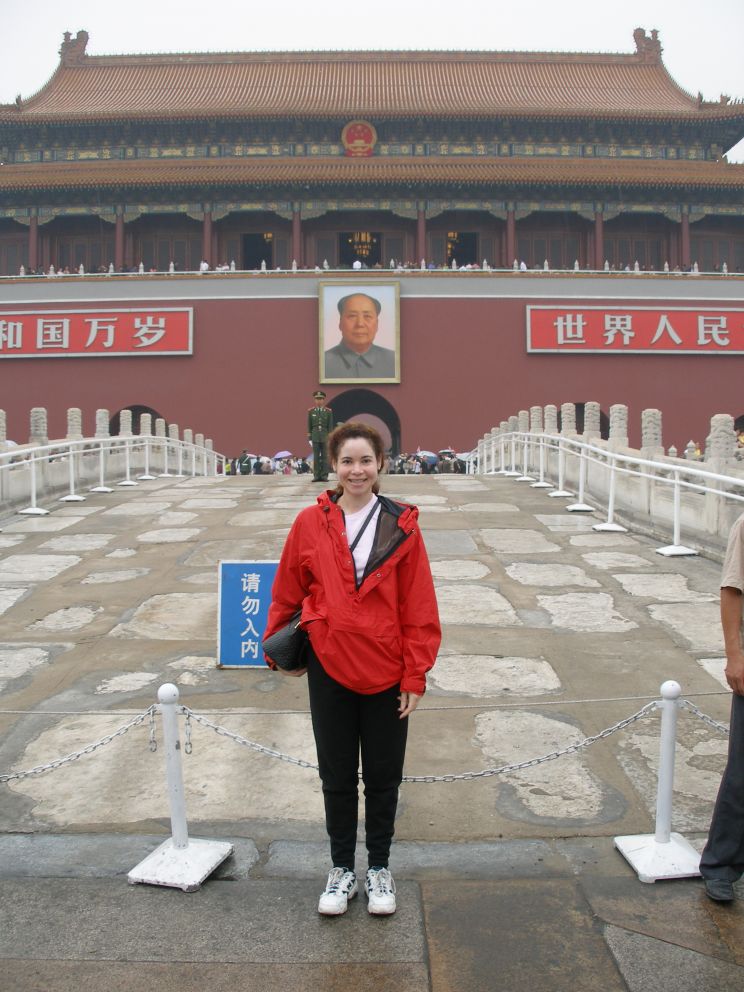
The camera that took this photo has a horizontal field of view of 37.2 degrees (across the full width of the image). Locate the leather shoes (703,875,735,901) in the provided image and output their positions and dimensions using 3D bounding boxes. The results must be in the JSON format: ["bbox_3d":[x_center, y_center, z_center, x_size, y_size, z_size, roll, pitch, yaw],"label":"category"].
[{"bbox_3d":[1.013,1.146,3.233,0.088,0.063,0.130,1,8,19],"label":"leather shoes"}]

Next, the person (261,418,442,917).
[{"bbox_3d":[-0.055,0.486,3.280,0.484,1.383,0.548,-4,7,-21],"label":"person"}]

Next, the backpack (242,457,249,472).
[{"bbox_3d":[-2.649,-0.675,23.110,0.167,0.322,0.376,-2,7,-6],"label":"backpack"}]

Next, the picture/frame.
[{"bbox_3d":[-0.285,-3.694,23.870,2.255,2.733,0.099,-1,4,-5],"label":"picture/frame"}]
